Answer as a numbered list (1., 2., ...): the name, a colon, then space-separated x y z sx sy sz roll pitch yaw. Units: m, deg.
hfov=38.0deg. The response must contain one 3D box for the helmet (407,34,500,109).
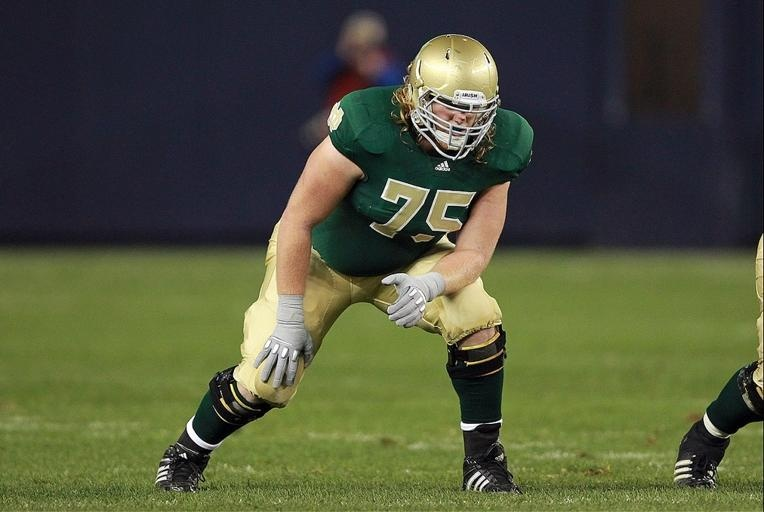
1. helmet: 0.409 -1.070 6.429 0.379 0.403 0.481 3 3 -37

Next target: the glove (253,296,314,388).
1. glove: -0.545 0.502 6.514 0.263 0.548 0.168 4 -5 16

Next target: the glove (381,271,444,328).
1. glove: 0.190 0.267 6.493 0.267 0.352 0.130 44 -3 13
